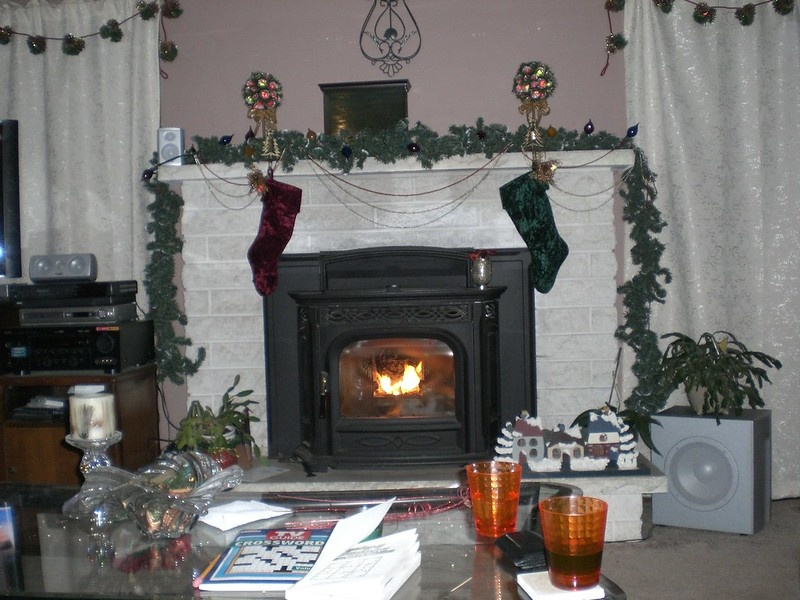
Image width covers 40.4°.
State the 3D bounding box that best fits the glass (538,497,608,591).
[{"bbox_3d":[0.530,0.775,3.505,0.255,0.283,0.253,-1,0,5],"label":"glass"}]

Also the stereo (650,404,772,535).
[{"bbox_3d":[1.477,0.787,5.169,0.509,0.563,0.313,1,5,30],"label":"stereo"}]

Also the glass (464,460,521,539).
[{"bbox_3d":[0.331,0.680,3.746,0.199,0.225,0.200,1,8,28],"label":"glass"}]
